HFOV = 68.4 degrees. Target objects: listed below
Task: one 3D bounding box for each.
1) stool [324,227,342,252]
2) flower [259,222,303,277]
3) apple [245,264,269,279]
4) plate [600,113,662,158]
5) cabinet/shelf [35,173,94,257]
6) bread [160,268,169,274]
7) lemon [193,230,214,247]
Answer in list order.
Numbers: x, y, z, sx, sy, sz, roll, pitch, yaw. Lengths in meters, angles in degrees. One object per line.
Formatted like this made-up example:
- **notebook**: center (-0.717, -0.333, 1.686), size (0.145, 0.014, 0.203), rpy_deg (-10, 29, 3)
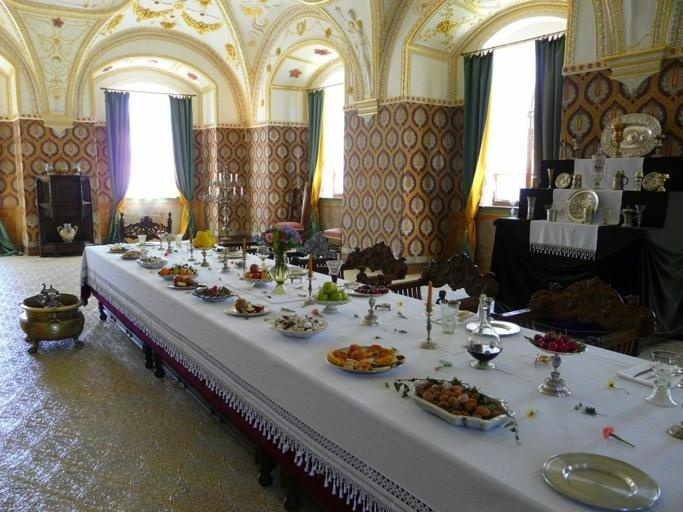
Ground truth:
- **stool**: center (-0.125, -0.358, 10.185), size (0.395, 0.572, 0.440), rpy_deg (4, 2, 39)
- **flower**: center (-0.470, -0.097, 3.846), size (0.348, 0.439, 0.398), rpy_deg (4, 8, 10)
- **apple**: center (-0.645, 0.138, 4.003), size (0.115, 0.067, 0.159), rpy_deg (8, -10, 11)
- **plate**: center (3.264, -1.385, 5.686), size (0.620, 0.494, 0.264), rpy_deg (5, 10, 40)
- **cabinet/shelf**: center (-5.831, -0.895, 10.632), size (1.044, 1.715, 0.512), rpy_deg (-5, 9, -32)
- **bread**: center (-1.480, 0.119, 4.210), size (0.054, 0.033, 0.056), rpy_deg (6, 9, 30)
- **lemon**: center (-1.478, -0.186, 5.317), size (0.191, 0.201, 0.202), rpy_deg (9, 3, 2)
